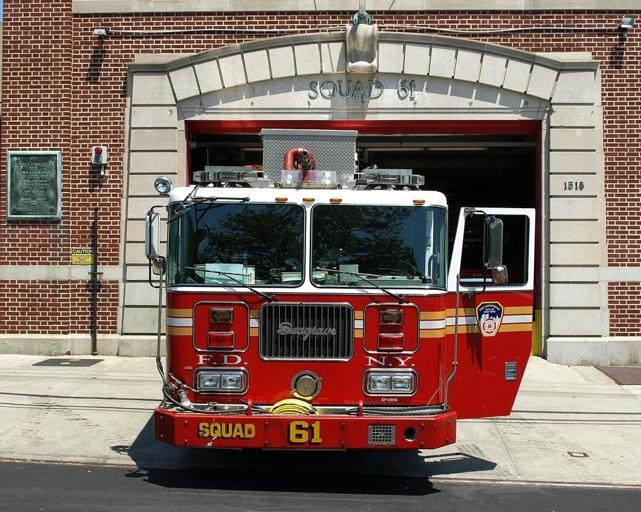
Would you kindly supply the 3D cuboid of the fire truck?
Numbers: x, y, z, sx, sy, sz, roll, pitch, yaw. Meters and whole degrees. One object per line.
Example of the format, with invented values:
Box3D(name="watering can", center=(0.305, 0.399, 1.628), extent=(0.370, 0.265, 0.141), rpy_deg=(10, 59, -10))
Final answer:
Box3D(name="fire truck", center=(0.175, 0.958, 18.327), extent=(5.239, 4.418, 7.905), rpy_deg=(0, -2, 1))
